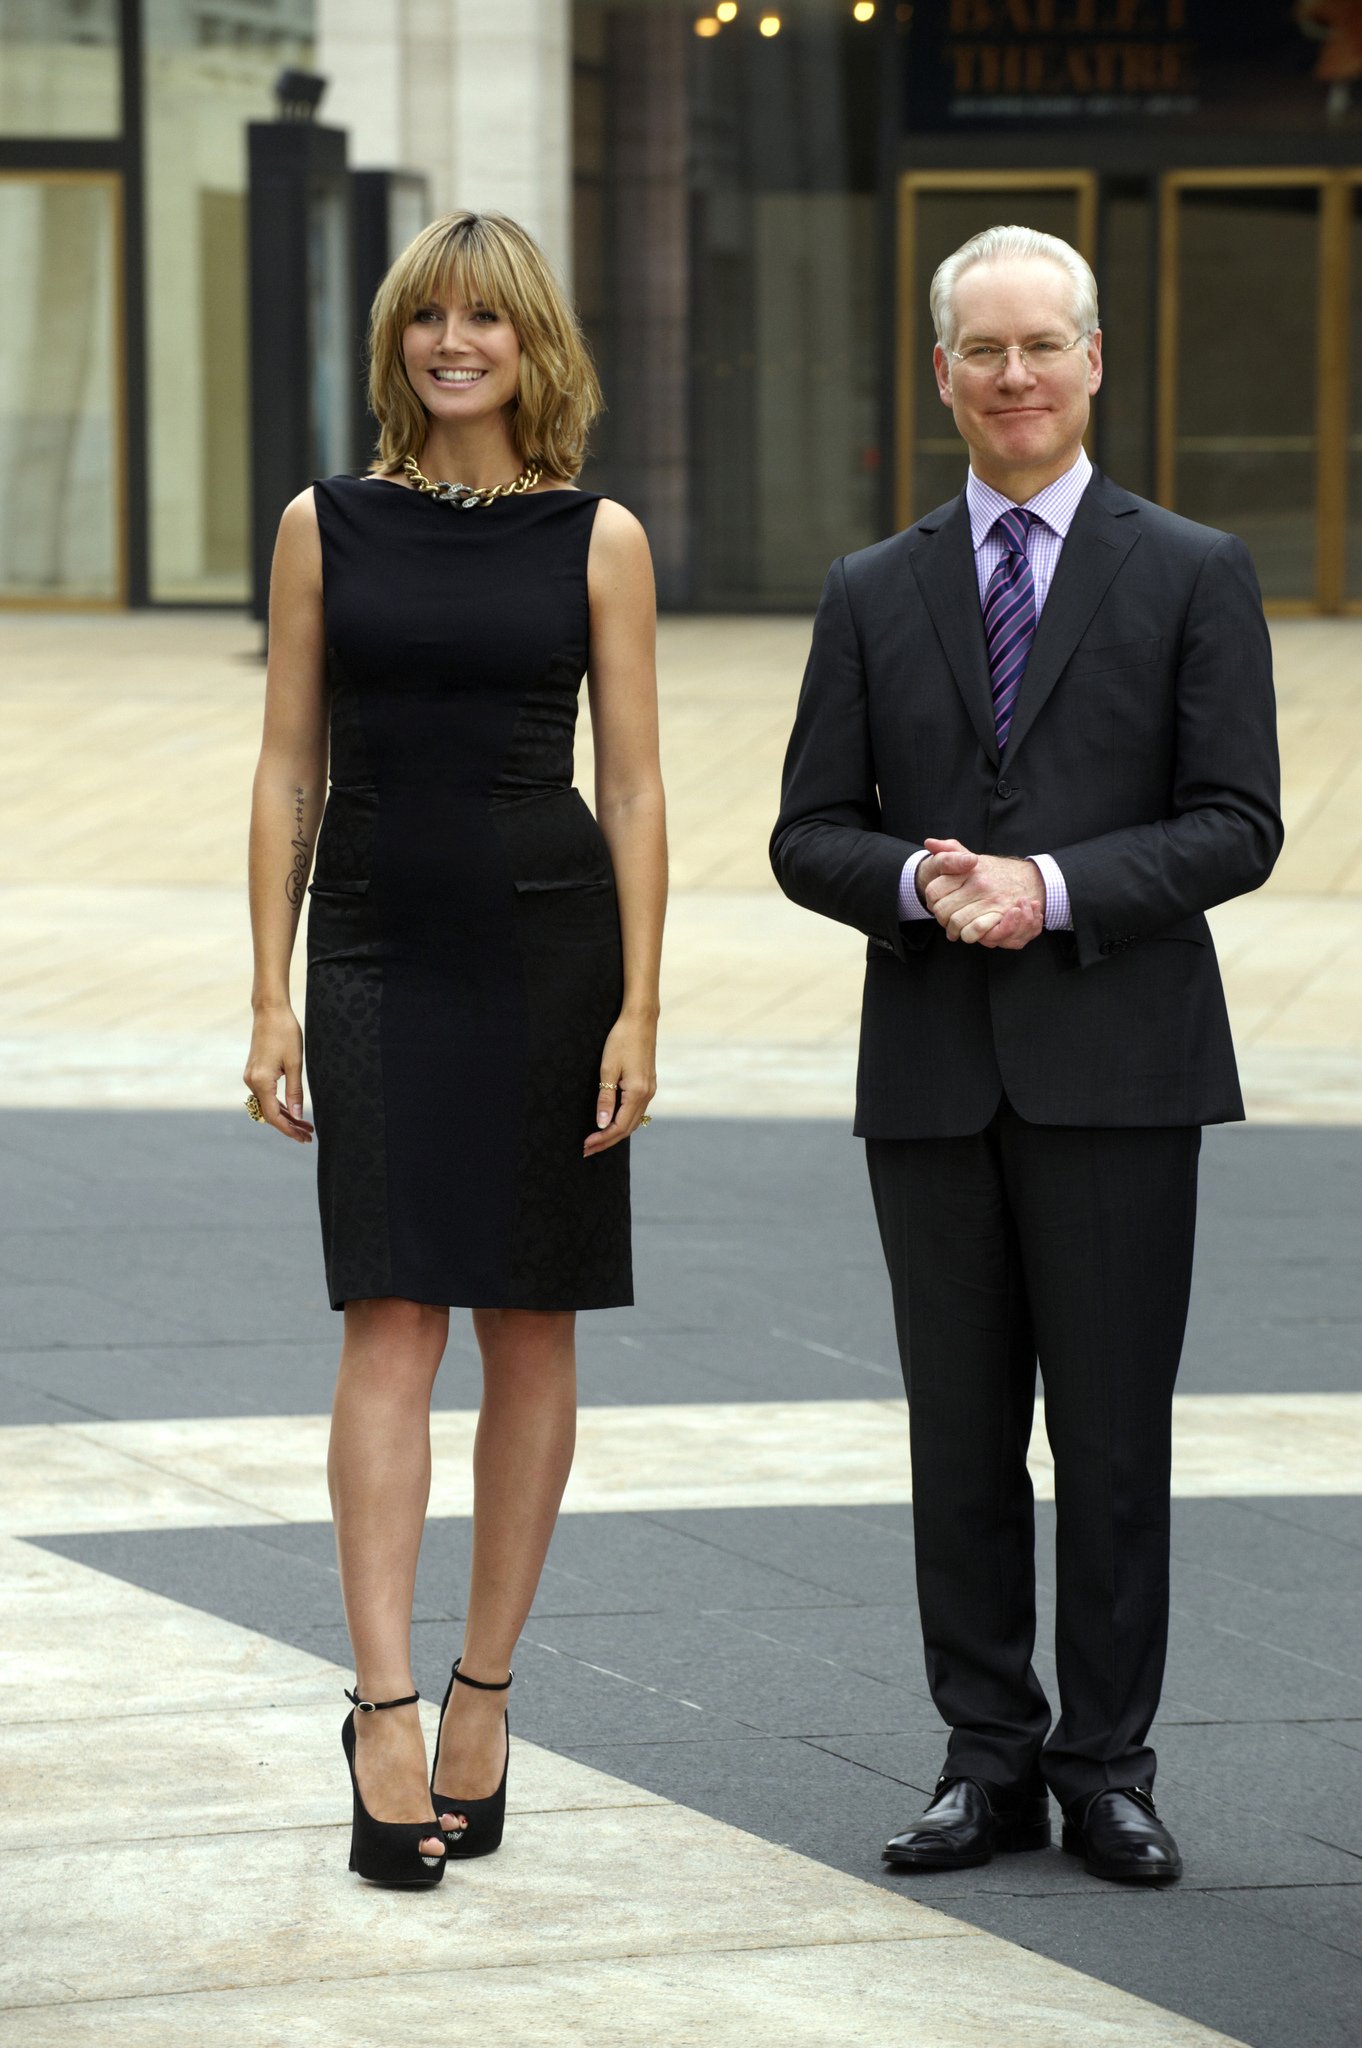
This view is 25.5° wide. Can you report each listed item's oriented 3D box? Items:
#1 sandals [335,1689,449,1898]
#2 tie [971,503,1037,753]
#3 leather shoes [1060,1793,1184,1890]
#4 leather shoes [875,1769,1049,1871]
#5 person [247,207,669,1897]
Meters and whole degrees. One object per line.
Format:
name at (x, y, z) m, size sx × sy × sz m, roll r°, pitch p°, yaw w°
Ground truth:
sandals at (-0.276, 0.749, 2.967) m, size 0.128 × 0.144 × 0.254 m, roll 0°, pitch 1°, yaw -6°
tie at (0.336, -0.406, 3.040) m, size 0.058 × 0.225 × 0.023 m, roll -1°, pitch 12°, yaw -25°
leather shoes at (0.441, 0.812, 3.018) m, size 0.054 × 0.052 × 0.138 m, roll 0°, pitch -4°, yaw -15°
leather shoes at (0.296, 0.805, 3.045) m, size 0.069 × 0.083 × 0.226 m, roll 5°, pitch 7°, yaw 44°
person at (-0.221, 0.011, 3.042) m, size 0.425 × 1.640 × 0.422 m, roll 0°, pitch 5°, yaw -8°
